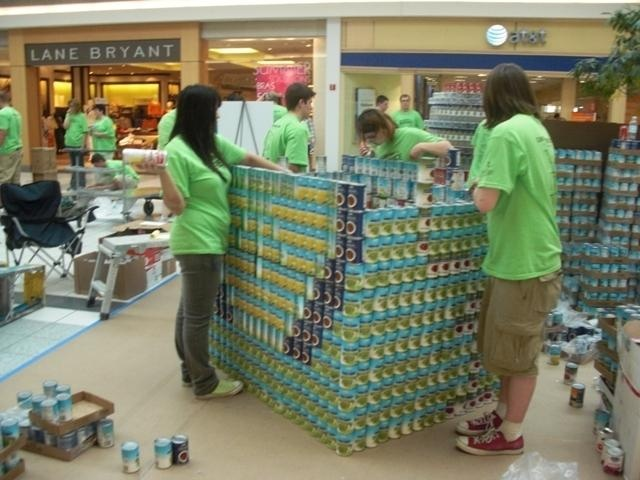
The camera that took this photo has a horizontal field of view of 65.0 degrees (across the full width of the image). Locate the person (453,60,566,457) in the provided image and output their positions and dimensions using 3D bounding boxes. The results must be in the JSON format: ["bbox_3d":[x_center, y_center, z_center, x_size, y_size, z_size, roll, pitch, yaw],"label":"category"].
[{"bbox_3d":[1.210,0.156,3.169,0.570,2.445,0.575,4,16,9],"label":"person"}]

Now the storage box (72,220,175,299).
[{"bbox_3d":[-2.320,0.194,6.256,0.819,0.502,1.355,10,21,13],"label":"storage box"}]

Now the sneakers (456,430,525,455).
[{"bbox_3d":[1.116,1.323,3.319,0.468,0.152,0.159,1,0,3],"label":"sneakers"}]

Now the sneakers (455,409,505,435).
[{"bbox_3d":[1.077,1.249,3.447,0.361,0.125,0.122,-5,4,0],"label":"sneakers"}]

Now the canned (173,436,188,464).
[{"bbox_3d":[-0.872,1.295,3.133,0.104,0.144,0.157,-4,15,-17],"label":"canned"}]

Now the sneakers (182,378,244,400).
[{"bbox_3d":[-0.819,1.124,3.868,0.483,0.169,0.166,-3,14,-15],"label":"sneakers"}]
